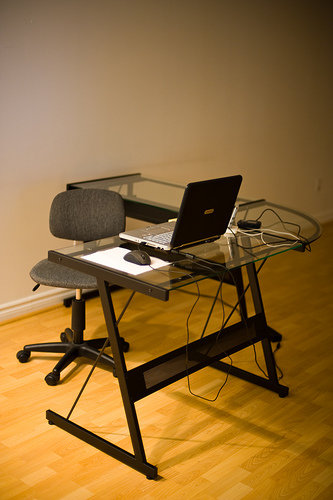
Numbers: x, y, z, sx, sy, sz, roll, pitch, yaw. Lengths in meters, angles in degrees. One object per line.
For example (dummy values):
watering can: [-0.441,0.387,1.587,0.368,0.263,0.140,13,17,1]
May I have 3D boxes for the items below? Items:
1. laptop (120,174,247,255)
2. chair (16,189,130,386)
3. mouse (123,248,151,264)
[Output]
laptop: [0.043,-0.140,1.386,0.325,0.260,0.366,20,28,36]
chair: [-0.491,0.155,2.113,0.583,0.922,0.624,0,11,-4]
mouse: [-0.091,0.022,1.236,0.049,0.037,0.101,-8,14,-40]
